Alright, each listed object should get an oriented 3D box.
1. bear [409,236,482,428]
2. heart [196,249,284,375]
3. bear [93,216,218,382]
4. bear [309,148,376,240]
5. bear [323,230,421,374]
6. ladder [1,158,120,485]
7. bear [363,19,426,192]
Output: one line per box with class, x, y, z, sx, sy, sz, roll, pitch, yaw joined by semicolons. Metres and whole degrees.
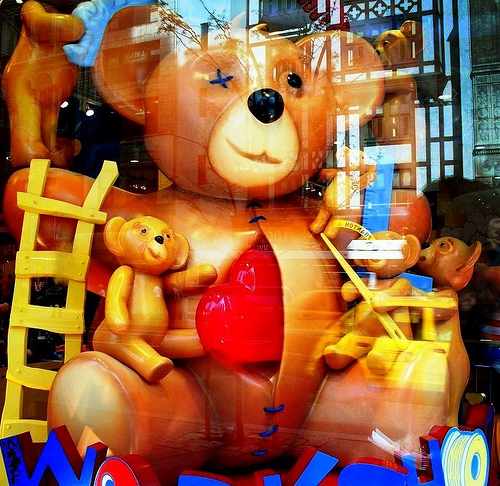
bear;0.938;0.422;2.382;0.321;0.895;0.128;3;3;20
heart;-0.048;0.341;2.477;0.437;0.618;0.149;1;3;-5
bear;-0.454;0.251;2.687;0.465;0.945;0.525;-1;5;20
bear;0.470;-0.239;2.540;0.323;0.468;0.250;-1;3;-10
bear;0.601;0.269;2.457;0.419;0.664;0.487;1;6;21
ladder;-1.096;0.430;2.909;0.649;1.801;0.647;1;2;40
bear;0.738;-0.695;2.493;0.306;0.876;0.116;2;3;12
